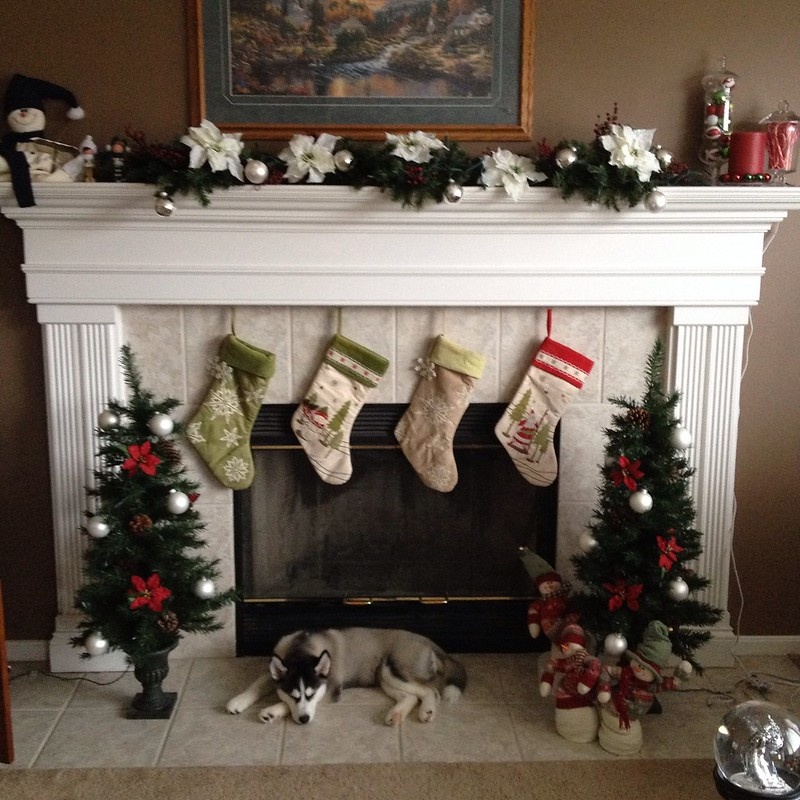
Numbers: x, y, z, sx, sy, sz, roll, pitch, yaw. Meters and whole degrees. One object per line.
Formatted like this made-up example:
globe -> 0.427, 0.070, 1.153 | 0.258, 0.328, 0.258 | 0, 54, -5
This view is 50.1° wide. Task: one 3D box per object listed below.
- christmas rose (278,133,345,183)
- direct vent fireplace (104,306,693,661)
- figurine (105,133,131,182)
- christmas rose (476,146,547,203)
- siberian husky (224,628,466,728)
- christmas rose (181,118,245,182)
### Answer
christmas rose -> -0.252, -0.663, 2.341 | 0.171, 0.133, 0.064 | 14, -8, -1
direct vent fireplace -> -0.015, 0.084, 2.871 | 1.799, 0.844, 0.475 | 3, 18, 1
figurine -> -0.779, -0.673, 2.383 | 0.067, 0.122, 0.056 | -1, 20, -4
christmas rose -> 0.303, -0.618, 2.336 | 0.232, 0.133, 0.144 | 2, 21, 4
siberian husky -> -0.128, 0.802, 2.547 | 0.681, 0.206, 0.496 | 2, 13, 4
christmas rose -> -0.496, -0.678, 2.290 | 0.188, 0.148, 0.072 | 16, 1, 6
